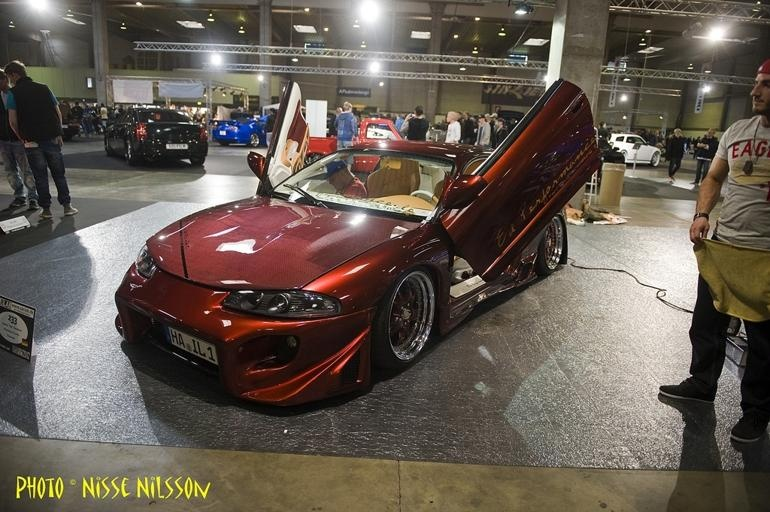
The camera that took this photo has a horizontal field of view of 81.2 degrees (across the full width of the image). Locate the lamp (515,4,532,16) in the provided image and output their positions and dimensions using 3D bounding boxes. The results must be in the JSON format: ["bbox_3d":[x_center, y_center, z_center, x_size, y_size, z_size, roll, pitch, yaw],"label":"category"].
[{"bbox_3d":[4.713,-8.676,15.672,0.651,0.233,0.643,-1,-2,3],"label":"lamp"}]

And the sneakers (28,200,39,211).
[{"bbox_3d":[-5.228,-0.764,6.687,0.290,0.128,0.125,18,20,40],"label":"sneakers"}]

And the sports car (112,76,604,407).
[{"bbox_3d":[-0.126,-0.590,4.522,3.689,1.963,4.491,10,20,34],"label":"sports car"}]

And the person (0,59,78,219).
[{"bbox_3d":[-4.744,-1.595,6.203,0.569,2.032,0.838,-12,23,-39],"label":"person"}]

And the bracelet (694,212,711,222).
[{"bbox_3d":[1.982,-0.254,2.835,0.081,0.058,0.087,9,0,-3],"label":"bracelet"}]

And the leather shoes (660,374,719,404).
[{"bbox_3d":[2.080,0.933,3.171,0.405,0.172,0.162,7,15,27],"label":"leather shoes"}]

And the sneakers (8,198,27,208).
[{"bbox_3d":[-5.574,-0.806,6.830,0.081,0.088,0.207,42,45,-5],"label":"sneakers"}]

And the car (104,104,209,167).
[{"bbox_3d":[-6.654,-3.524,12.855,1.580,1.153,3.403,-9,22,-32],"label":"car"}]
